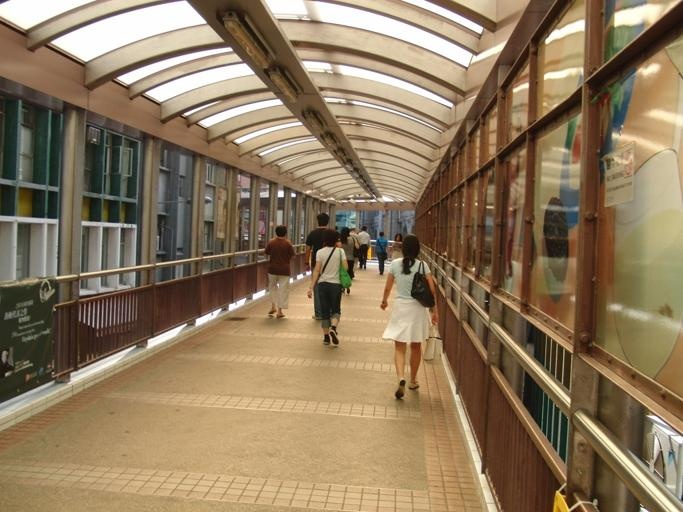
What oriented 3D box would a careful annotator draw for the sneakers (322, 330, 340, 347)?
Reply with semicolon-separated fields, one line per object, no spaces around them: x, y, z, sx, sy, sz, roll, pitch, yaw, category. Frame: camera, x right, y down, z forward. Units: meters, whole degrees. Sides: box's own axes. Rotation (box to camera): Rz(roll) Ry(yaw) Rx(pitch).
-0.190;1.609;9.245;0.162;0.455;0.186;-29;-2;20;sneakers

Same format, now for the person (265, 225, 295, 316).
-1.523;0.412;11.687;0.674;2.291;1.295;1;2;-9;person

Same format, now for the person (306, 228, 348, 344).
-0.244;0.596;9.560;0.623;2.232;1.181;2;2;3;person

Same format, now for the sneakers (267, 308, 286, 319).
-1.631;1.433;11.958;0.165;0.270;0.585;2;4;8;sneakers

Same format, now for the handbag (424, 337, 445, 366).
1.317;1.357;6.898;0.236;0.479;0.438;6;-3;7;handbag

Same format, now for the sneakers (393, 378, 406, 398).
0.775;1.796;6.408;0.109;0.326;0.127;7;5;0;sneakers

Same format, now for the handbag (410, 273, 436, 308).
1.065;0.473;6.400;0.134;0.330;0.322;-9;-34;21;handbag
